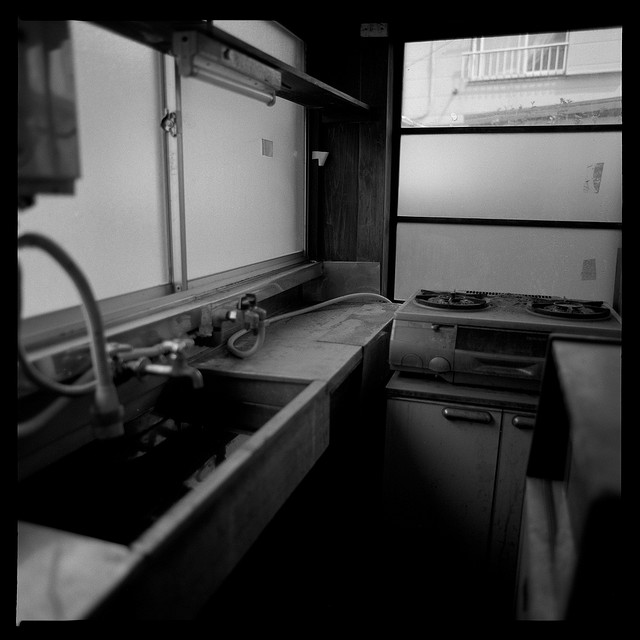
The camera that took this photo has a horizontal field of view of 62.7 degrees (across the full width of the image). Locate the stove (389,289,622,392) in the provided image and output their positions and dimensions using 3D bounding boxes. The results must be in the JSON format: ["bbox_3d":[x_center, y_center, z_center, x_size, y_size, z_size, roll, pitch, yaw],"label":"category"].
[{"bbox_3d":[0.862,0.071,2.576,0.976,0.330,0.643,4,16,17],"label":"stove"}]

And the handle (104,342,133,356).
[{"bbox_3d":[-0.515,0.074,1.339,0.067,0.024,0.052,-1,5,-31],"label":"handle"}]

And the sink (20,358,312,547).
[{"bbox_3d":[-0.469,0.343,1.605,0.413,0.352,0.932,6,17,25],"label":"sink"}]
